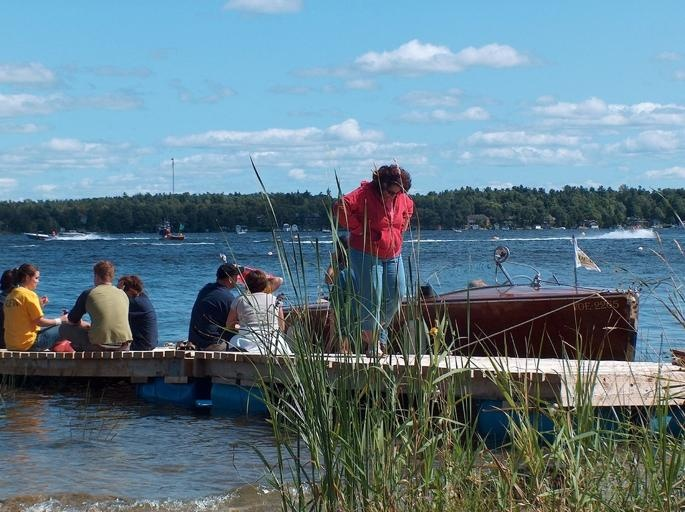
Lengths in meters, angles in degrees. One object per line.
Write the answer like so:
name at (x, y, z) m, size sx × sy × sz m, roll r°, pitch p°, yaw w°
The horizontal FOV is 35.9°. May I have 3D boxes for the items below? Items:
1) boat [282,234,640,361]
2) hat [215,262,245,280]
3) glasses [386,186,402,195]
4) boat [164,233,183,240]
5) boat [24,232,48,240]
boat at (1.018, 0.534, 9.927) m, size 3.683 × 1.600 × 1.264 m, roll -1°, pitch 0°, yaw 8°
hat at (-1.085, 0.153, 10.166) m, size 0.152 × 0.171 × 0.453 m, roll -3°, pitch 1°, yaw -19°
glasses at (0.435, -0.552, 8.830) m, size 0.100 × 0.113 × 0.038 m, roll 0°, pitch 7°, yaw -21°
boat at (-12.648, -1.393, 80.632) m, size 0.534 × 0.529 × 2.168 m, roll 1°, pitch 2°, yaw 14°
boat at (-25.702, -1.612, 88.818) m, size 1.489 × 0.485 × 0.557 m, roll 16°, pitch -6°, yaw 38°
